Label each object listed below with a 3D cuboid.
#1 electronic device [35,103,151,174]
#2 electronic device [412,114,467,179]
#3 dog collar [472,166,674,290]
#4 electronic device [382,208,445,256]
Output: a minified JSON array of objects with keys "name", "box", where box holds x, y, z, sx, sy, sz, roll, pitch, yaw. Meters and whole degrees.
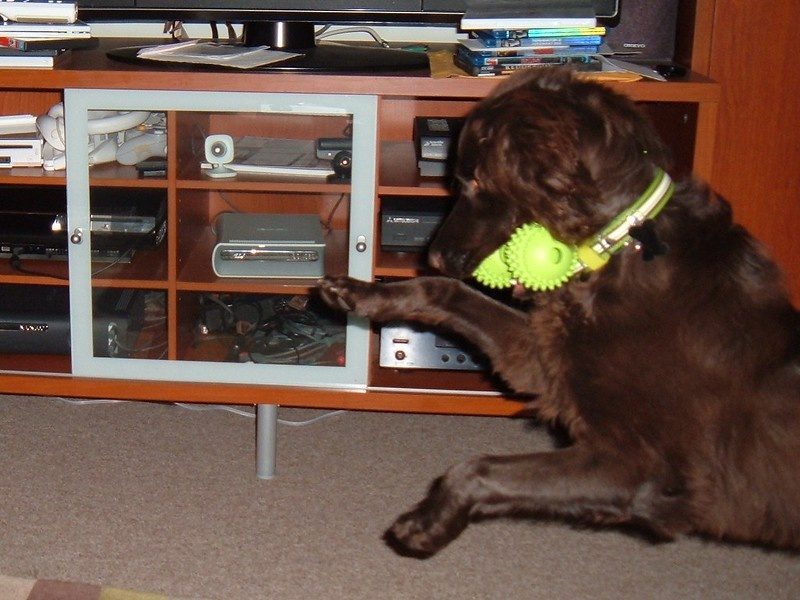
[{"name":"electronic device","box":[-0.909,-0.469,2.225,0.342,0.096,0.232,-6,43,-15]},{"name":"electronic device","box":[0.089,-0.461,2.253,0.264,0.126,0.268,0,33,-1]},{"name":"dog collar","box":[0.311,-0.131,1.473,0.361,0.129,0.222,-22,3,24]},{"name":"electronic device","box":[0.103,-0.206,2.313,0.164,0.132,0.279,-3,8,-37]}]
